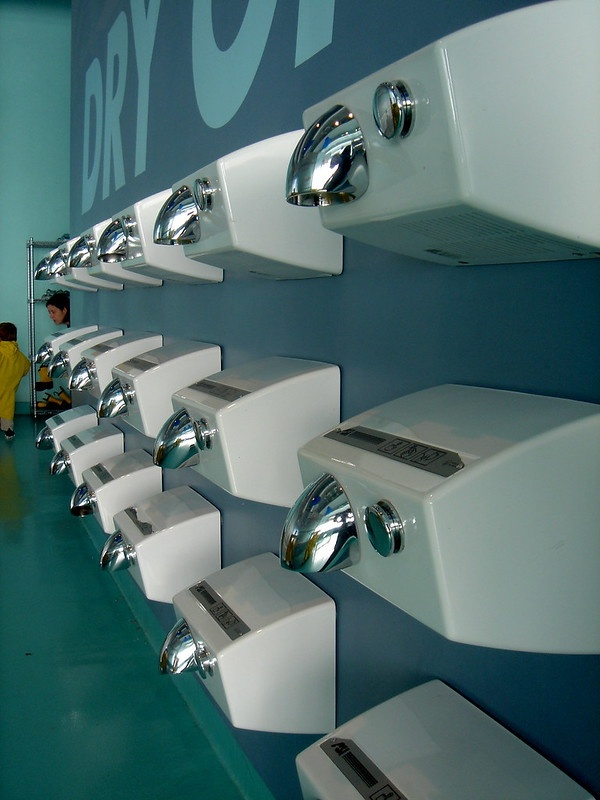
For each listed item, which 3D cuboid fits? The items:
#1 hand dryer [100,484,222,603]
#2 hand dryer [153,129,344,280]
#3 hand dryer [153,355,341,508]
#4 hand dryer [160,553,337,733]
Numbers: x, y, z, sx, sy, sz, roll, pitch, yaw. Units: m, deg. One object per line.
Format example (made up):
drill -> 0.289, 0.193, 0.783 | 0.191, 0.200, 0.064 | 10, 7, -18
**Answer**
hand dryer -> -0.405, 0.407, 1.575 | 0.265, 0.229, 0.246 | -9, 15, -24
hand dryer -> -0.109, -0.326, 1.038 | 0.248, 0.194, 0.314 | -2, 8, -31
hand dryer -> -0.085, 0.032, 1.045 | 0.305, 0.215, 0.286 | -14, 5, -20
hand dryer -> -0.121, 0.459, 1.082 | 0.284, 0.205, 0.295 | -1, 2, -23
